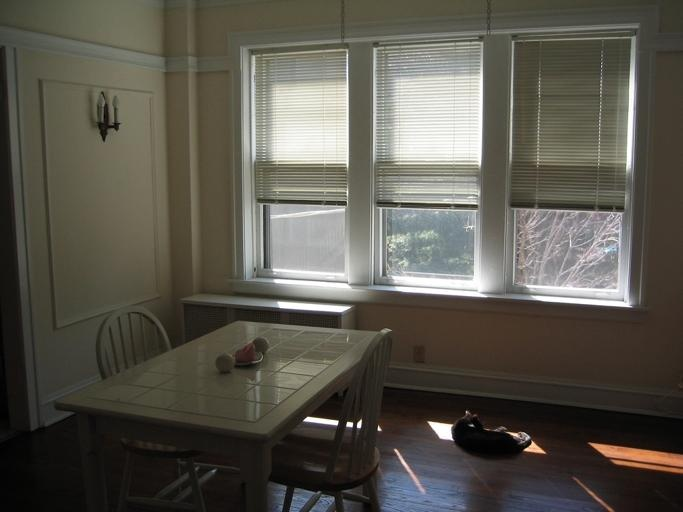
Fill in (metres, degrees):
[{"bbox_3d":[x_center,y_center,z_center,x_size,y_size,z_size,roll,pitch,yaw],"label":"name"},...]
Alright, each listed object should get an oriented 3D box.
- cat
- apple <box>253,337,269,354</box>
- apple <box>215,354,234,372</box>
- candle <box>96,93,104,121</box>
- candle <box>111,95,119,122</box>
[{"bbox_3d":[0.963,1.183,3.743,0.360,0.160,0.259,-1,8,13],"label":"cat"},{"bbox_3d":[-0.435,0.483,3.072,0.075,0.063,0.082,1,5,-19],"label":"apple"},{"bbox_3d":[-0.581,0.540,2.887,0.084,0.086,0.086,10,-12,10],"label":"apple"},{"bbox_3d":[-1.824,-1.122,4.284,0.064,0.205,0.054,7,15,29],"label":"candle"},{"bbox_3d":[-1.739,-1.134,4.386,0.049,0.201,0.161,-5,14,-20],"label":"candle"}]
